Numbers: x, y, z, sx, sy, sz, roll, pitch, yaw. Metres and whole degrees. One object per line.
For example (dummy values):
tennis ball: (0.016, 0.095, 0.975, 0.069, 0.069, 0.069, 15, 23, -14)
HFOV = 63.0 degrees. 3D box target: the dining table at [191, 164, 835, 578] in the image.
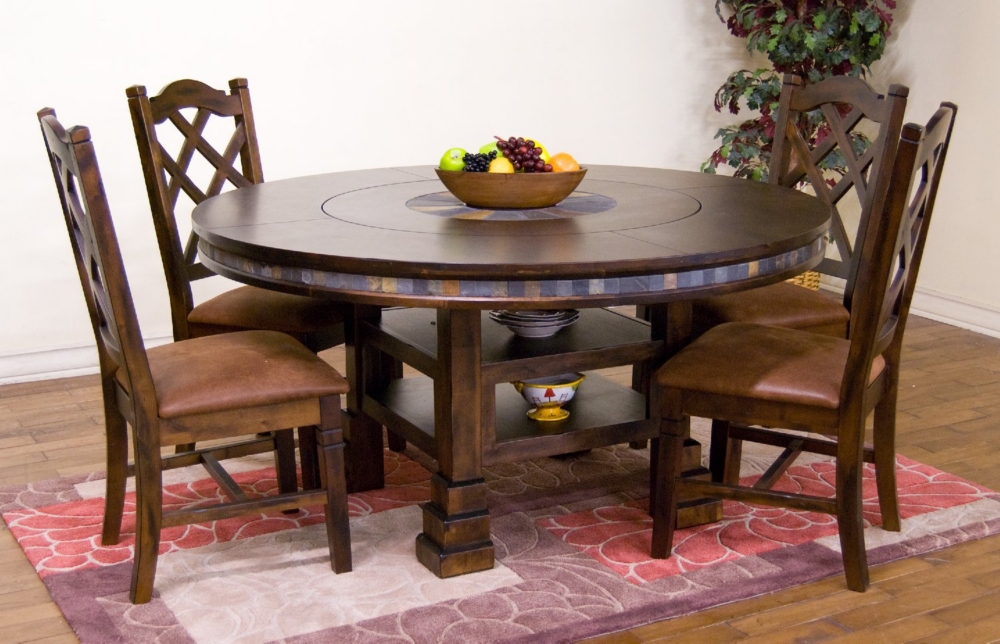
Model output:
dining table: (-0.159, 0.083, 3.074, 2.118, 0.768, 1.738, -5, 13, -23)

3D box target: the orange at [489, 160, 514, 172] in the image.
orange: (0.008, -0.532, 2.787, 0.076, 0.048, 0.072, 12, -2, 1)

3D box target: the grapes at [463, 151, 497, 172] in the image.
grapes: (-0.069, -0.551, 2.799, 0.094, 0.039, 0.096, -1, 2, -6)

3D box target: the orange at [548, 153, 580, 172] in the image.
orange: (0.228, -0.559, 2.875, 0.129, 0.044, 0.097, 0, 19, -11)
